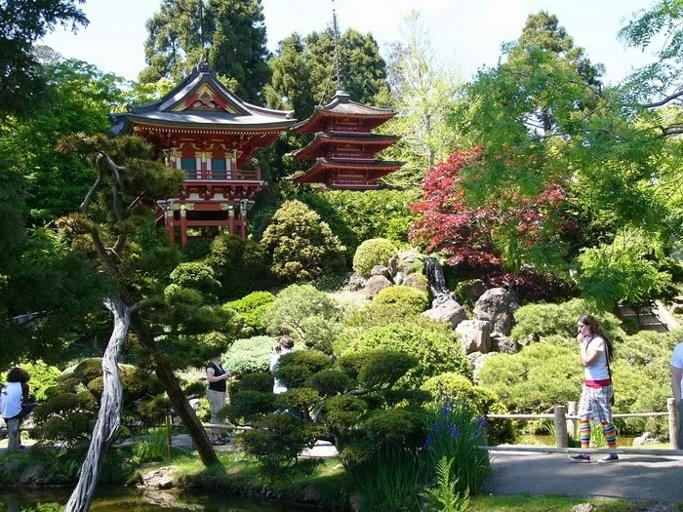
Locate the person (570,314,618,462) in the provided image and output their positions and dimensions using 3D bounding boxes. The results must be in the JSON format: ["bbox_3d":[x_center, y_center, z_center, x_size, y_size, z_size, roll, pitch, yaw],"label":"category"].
[{"bbox_3d":[3.834,2.012,12.811,0.618,2.200,0.884,-4,-11,16],"label":"person"}]

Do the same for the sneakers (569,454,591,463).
[{"bbox_3d":[3.659,3.104,12.946,0.320,0.137,0.121,1,-7,22],"label":"sneakers"}]

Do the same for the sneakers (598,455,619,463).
[{"bbox_3d":[4.057,3.083,12.798,0.344,0.147,0.122,3,-13,-6],"label":"sneakers"}]
